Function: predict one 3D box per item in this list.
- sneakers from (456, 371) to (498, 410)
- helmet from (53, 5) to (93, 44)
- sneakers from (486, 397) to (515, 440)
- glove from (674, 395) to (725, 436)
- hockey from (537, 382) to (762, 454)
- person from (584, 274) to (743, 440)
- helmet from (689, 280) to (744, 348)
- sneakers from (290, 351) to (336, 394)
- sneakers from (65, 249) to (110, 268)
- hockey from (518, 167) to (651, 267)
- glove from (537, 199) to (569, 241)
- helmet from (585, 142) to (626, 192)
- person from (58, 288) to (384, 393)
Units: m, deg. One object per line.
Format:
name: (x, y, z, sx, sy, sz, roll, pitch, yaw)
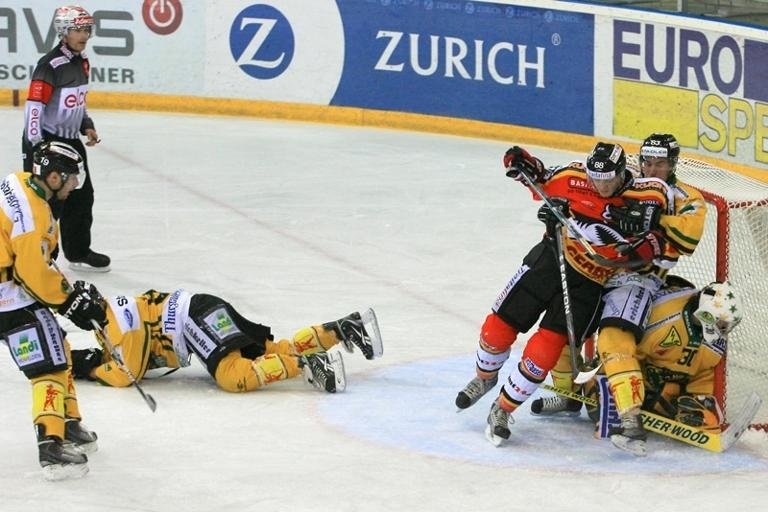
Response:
sneakers: (0.565, 0.817, 6.150, 0.277, 0.113, 0.087, -34, 71, -21)
helmet: (-2.398, -1.792, 7.864, 0.268, 0.271, 0.271, 0, 7, -12)
sneakers: (0.638, 0.933, 5.833, 0.102, 0.115, 0.282, 24, 14, -12)
glove: (1.790, 0.892, 5.778, 0.270, 0.177, 0.201, 7, 4, 18)
hockey: (1.506, 0.927, 5.775, 0.905, 0.116, 0.206, 15, 42, 26)
person: (1.555, 0.571, 5.742, 0.554, 0.711, 0.686, 20, 37, -22)
helmet: (1.839, 0.328, 5.677, 0.371, 0.308, 0.261, -9, -1, 0)
sneakers: (-0.429, 0.693, 6.263, 0.174, 0.118, 0.352, -14, 22, -15)
sneakers: (-2.300, 0.023, 7.997, 0.425, 0.150, 0.128, 1, 7, 2)
hockey: (1.099, -0.221, 5.890, 0.860, 0.278, 0.079, 44, 27, 22)
glove: (1.016, -0.205, 5.959, 0.092, 0.224, 0.178, 13, -4, -41)
helmet: (1.245, -0.480, 5.724, 0.228, 0.298, 0.229, 2, 8, 10)
person: (-0.945, 0.511, 6.239, 1.898, 0.499, 0.730, 4, -7, 3)
